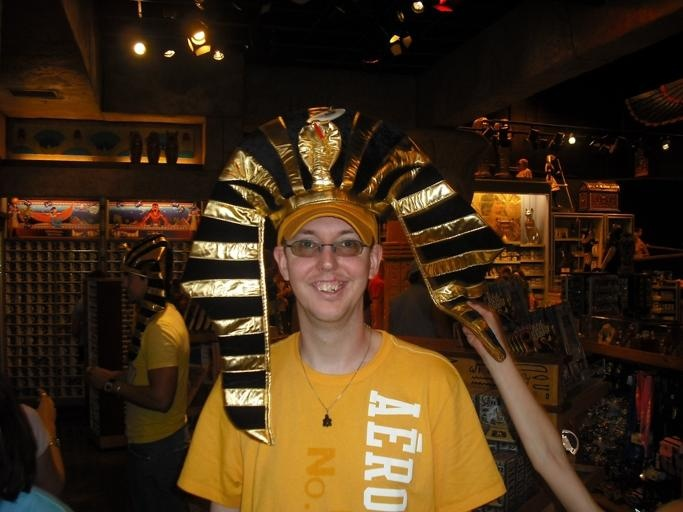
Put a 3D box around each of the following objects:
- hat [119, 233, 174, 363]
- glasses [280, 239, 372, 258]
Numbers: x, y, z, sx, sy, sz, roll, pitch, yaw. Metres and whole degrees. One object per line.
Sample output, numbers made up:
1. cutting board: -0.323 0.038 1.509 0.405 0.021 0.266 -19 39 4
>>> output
1. hat: -1.498 0.320 4.845 0.374 1.006 0.745 3 -8 -18
2. glasses: -0.069 -0.029 2.917 0.368 0.085 0.034 0 -7 -1
